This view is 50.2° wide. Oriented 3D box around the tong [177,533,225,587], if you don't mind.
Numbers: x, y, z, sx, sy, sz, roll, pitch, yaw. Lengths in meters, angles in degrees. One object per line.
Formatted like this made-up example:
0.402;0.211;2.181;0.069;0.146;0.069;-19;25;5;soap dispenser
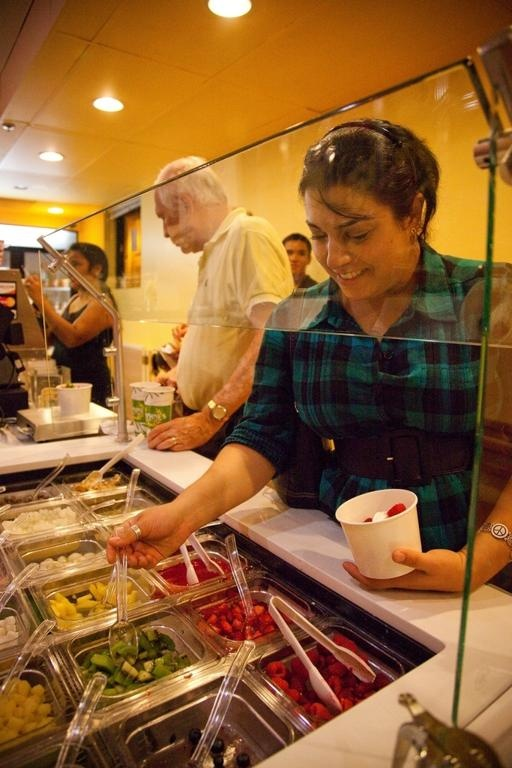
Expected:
-0.126;0.381;1.170;0.072;0.134;0.023;-24;8;2;tong

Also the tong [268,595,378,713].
0.085;0.396;0.817;0.089;0.032;0.169;-5;26;-35;tong

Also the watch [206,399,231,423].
-0.134;0.091;1.922;0.056;0.086;0.079;-42;3;-2;watch

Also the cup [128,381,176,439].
-0.385;0.102;2.034;0.187;0.184;0.181;0;6;0;cup

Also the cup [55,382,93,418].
-0.753;0.070;2.226;0.138;0.099;0.121;-3;4;-18;cup

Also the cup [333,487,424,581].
0.187;0.223;0.904;0.141;0.109;0.147;-22;9;3;cup

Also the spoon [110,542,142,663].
-0.229;0.381;0.943;0.043;0.175;0.024;2;-17;-27;spoon
